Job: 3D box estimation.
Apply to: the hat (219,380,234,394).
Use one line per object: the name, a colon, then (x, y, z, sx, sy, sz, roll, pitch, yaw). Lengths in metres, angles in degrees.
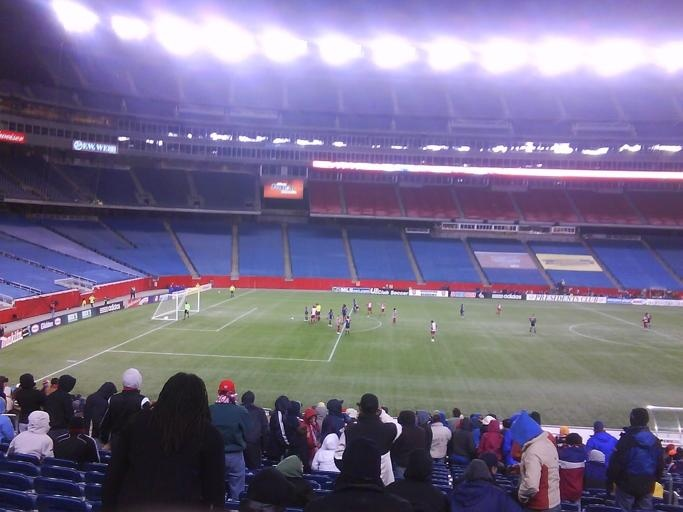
hat: (-5.077, 5.794, 26.698, 0.520, 0.395, 0.743, 2, 3, -5)
